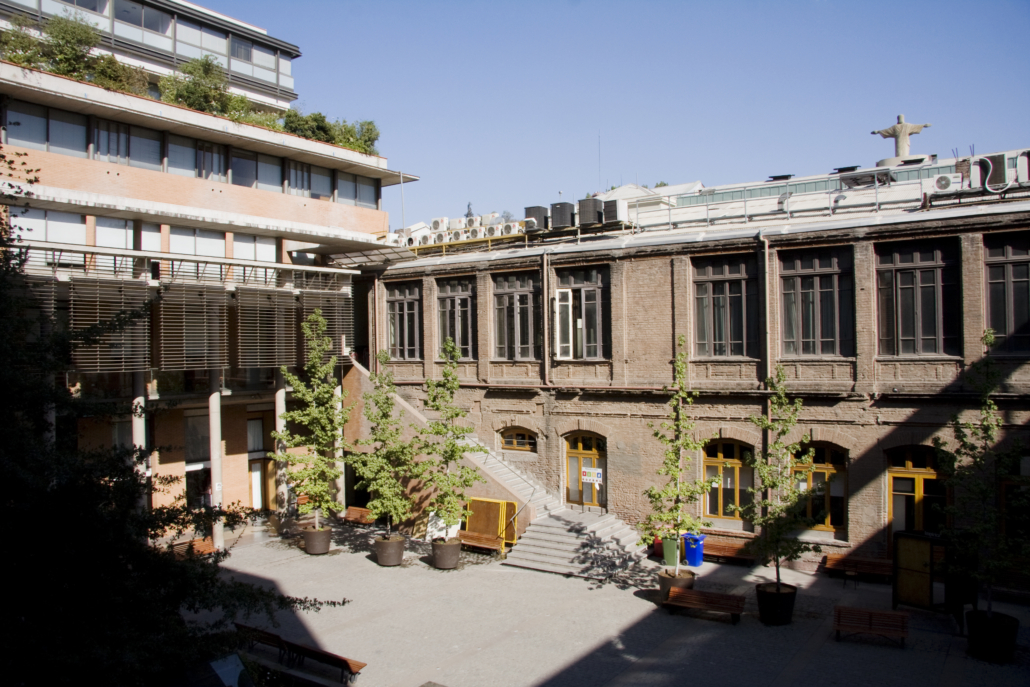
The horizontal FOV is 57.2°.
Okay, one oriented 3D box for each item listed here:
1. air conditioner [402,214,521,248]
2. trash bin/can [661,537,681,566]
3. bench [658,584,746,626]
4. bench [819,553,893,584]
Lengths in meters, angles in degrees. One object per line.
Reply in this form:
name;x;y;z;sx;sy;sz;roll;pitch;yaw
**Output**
air conditioner;-2.316;-5.247;45.273;7.727;1.492;1.557;-1;2;37
trash bin/can;5.778;7.780;35.112;0.525;1.110;0.775;-2;12;5
bench;6.411;8.682;31.709;3.221;0.957;0.938;-7;-3;31
bench;12.186;8.115;34.048;2.353;0.989;1.236;3;13;24
